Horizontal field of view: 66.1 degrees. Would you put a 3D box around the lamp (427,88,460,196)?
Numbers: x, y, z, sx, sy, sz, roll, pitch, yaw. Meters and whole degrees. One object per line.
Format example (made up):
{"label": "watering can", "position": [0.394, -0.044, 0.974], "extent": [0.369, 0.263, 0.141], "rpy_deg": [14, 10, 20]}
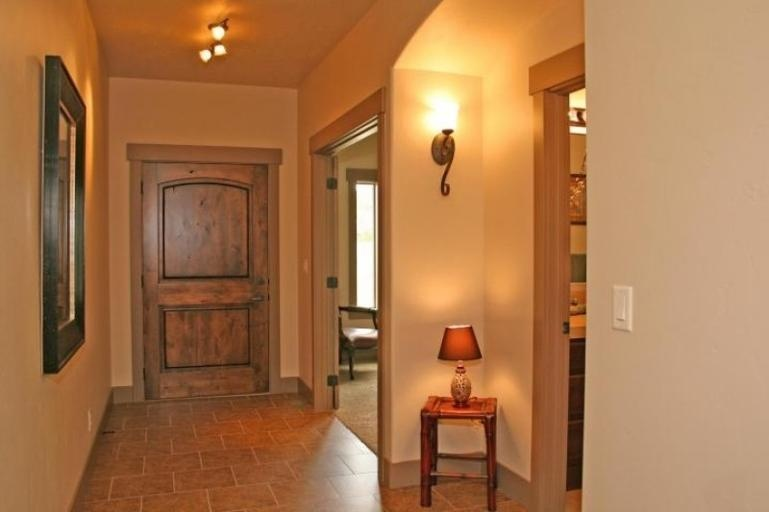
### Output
{"label": "lamp", "position": [0.438, -0.763, 4.166], "extent": [0.223, 0.692, 0.153], "rpy_deg": [0, 3, -11]}

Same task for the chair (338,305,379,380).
{"label": "chair", "position": [-0.346, 1.097, 7.952], "extent": [0.498, 0.833, 1.691], "rpy_deg": [0, 2, -3]}
